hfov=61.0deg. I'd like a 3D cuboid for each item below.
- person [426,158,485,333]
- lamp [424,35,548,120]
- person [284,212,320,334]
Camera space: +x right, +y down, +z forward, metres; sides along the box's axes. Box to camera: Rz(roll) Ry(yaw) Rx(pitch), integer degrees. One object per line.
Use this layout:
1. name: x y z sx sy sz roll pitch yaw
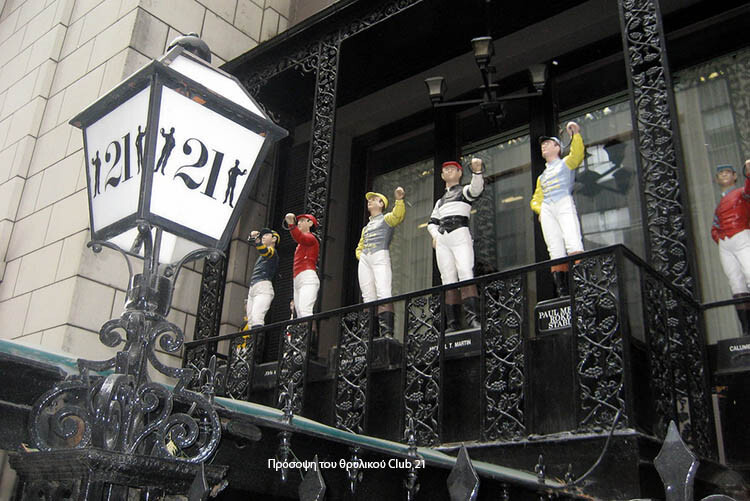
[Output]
1. person: 0.936 -0.160 7.327 0.603 2.325 1.058 -2 -22 5
2. lamp: 1.433 -2.034 8.027 1.534 0.708 1.572 -6 -22 16
3. person: -0.909 0.181 8.040 0.403 1.249 0.953 1 -22 -4
